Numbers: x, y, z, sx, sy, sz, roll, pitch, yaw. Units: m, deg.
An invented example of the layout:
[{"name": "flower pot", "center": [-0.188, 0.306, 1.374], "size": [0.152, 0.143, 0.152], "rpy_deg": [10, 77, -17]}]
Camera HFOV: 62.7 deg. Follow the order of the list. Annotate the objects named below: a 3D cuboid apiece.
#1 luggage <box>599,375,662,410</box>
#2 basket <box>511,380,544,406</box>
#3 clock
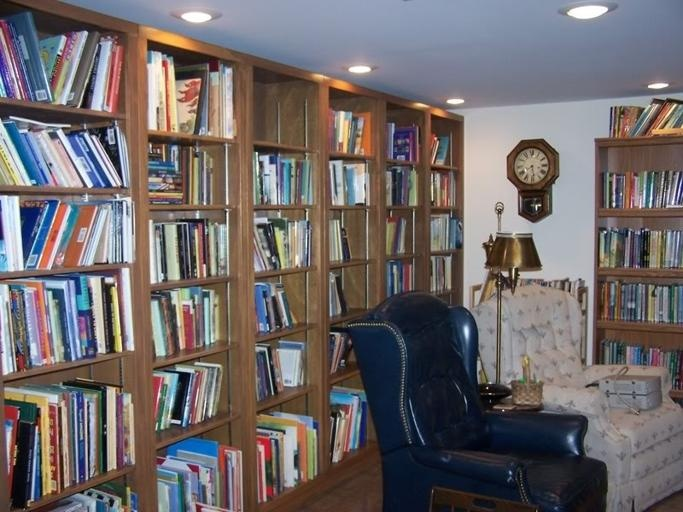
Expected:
[{"name": "luggage", "center": [1.942, 0.908, 3.701], "size": [0.408, 0.197, 0.195], "rpy_deg": [-1, 4, 5]}, {"name": "basket", "center": [1.120, 0.821, 3.362], "size": [0.155, 0.108, 0.152], "rpy_deg": [-1, -1, 6]}, {"name": "clock", "center": [1.835, -0.723, 5.386], "size": [0.455, 0.771, 0.070], "rpy_deg": [1, 5, 26]}]
